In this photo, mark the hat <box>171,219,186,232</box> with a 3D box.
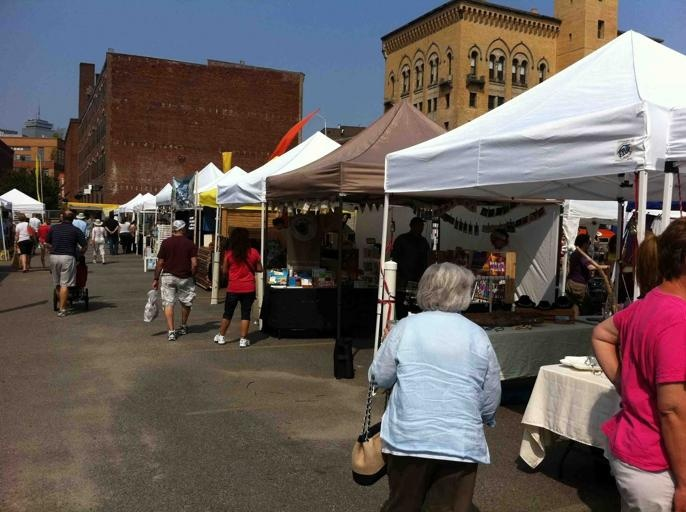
[{"bbox_3d":[-2.920,-0.546,10.291,0.170,0.120,0.253,0,16,-2],"label":"hat"}]

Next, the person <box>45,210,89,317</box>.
[{"bbox_3d":[-5.776,0.155,12.075,0.689,2.232,1.030,-1,5,-26],"label":"person"}]

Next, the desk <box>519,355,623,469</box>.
[{"bbox_3d":[1.774,1.379,5.209,0.897,0.663,0.998,12,-9,8],"label":"desk"}]

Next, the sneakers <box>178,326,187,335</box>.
[{"bbox_3d":[-2.925,1.361,10.512,0.167,0.196,0.111,-3,4,-4],"label":"sneakers"}]

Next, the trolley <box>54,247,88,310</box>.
[{"bbox_3d":[-5.943,0.579,12.803,0.792,1.111,0.606,1,-2,45],"label":"trolley"}]

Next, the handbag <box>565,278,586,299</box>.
[{"bbox_3d":[4.088,0.578,10.201,0.231,0.277,0.338,-11,15,-28],"label":"handbag"}]

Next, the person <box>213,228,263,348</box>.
[{"bbox_3d":[-1.772,0.515,9.738,0.719,1.996,0.671,-1,5,-26],"label":"person"}]

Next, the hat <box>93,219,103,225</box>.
[{"bbox_3d":[-10.911,-1.487,25.776,0.357,0.192,0.470,2,14,-10],"label":"hat"}]

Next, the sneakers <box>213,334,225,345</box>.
[{"bbox_3d":[-2.111,1.421,9.834,0.090,0.129,0.258,3,5,-20],"label":"sneakers"}]
